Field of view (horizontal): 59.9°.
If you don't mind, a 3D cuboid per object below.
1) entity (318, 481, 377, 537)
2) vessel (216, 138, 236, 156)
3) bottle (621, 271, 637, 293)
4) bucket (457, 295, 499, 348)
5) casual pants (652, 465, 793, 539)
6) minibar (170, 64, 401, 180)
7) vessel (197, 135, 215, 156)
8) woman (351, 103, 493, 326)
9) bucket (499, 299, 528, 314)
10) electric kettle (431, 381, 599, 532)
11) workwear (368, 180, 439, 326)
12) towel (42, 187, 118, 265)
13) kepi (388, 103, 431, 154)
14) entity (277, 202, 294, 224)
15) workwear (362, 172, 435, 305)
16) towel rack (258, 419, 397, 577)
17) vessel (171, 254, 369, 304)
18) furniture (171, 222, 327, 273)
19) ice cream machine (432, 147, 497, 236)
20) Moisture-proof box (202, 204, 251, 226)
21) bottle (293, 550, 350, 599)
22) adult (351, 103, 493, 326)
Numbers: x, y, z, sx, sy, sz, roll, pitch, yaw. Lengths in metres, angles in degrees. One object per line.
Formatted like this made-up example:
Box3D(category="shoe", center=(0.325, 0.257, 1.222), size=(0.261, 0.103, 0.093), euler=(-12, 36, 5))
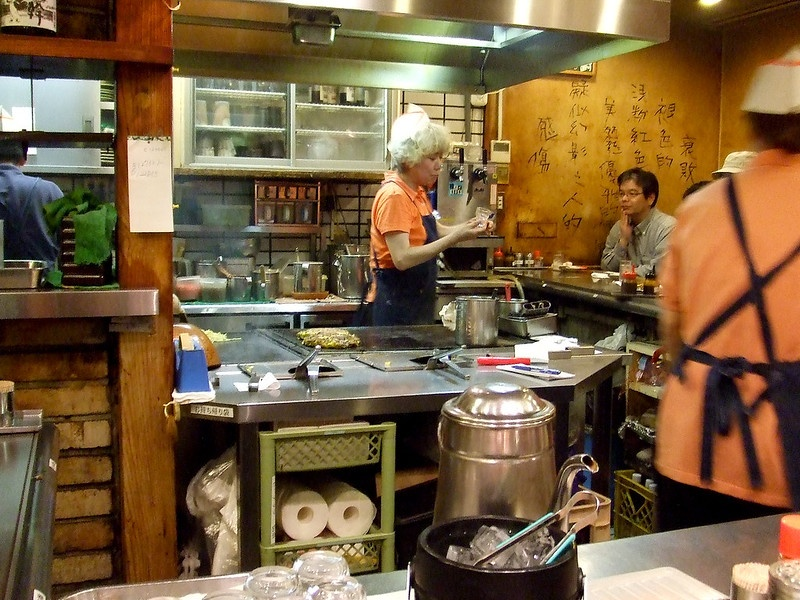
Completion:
Box3D(category="entity", center=(-0.183, 0.761, 2.477), size=(0.139, 0.160, 0.216), euler=(6, 0, -21))
Box3D(category="vessel", center=(-1.412, -1.245, 5.643), size=(0.151, 0.150, 0.135), euler=(-3, 8, -15))
Box3D(category="bottle", center=(1.568, -0.120, 4.742), size=(0.116, 0.209, 0.122), euler=(0, 4, 0))
Box3D(category="bucket", center=(0.374, 0.101, 3.392), size=(0.194, 0.240, 0.210), euler=(1, 3, 0))
Box3D(category="casual pants", center=(0.907, 0.570, 1.989), size=(0.214, 0.265, 0.216), euler=(1, 1, -4))
Box3D(category="minibar", center=(-0.959, -1.398, 6.076), size=(1.768, 0.979, 0.597), euler=(0, -20, -11))
Box3D(category="vessel", center=(-1.568, -1.227, 5.594), size=(0.121, 0.195, 0.064), euler=(1, -8, -20))
Box3D(category="woman", center=(0.102, -0.175, 4.035), size=(0.596, 1.781, 0.618), euler=(-12, 18, -43))
Box3D(category="bucket", center=(0.582, 0.014, 3.560), size=(0.089, 0.107, 0.096), euler=(1, 7, 0))
Box3D(category="electric kettle", center=(0.208, 0.323, 1.480), size=(0.318, 0.381, 0.284), euler=(-3, 7, -5))
Box3D(category="workwear", center=(0.028, -0.047, 4.067), size=(0.348, 1.279, 0.526), euler=(0, 2, 12))
Box3D(category="towel", center=(-1.102, -0.268, 2.480), size=(0.242, 0.268, 0.258), euler=(-2, 5, -9))
Box3D(category="kepi", center=(0.052, -0.926, 3.798), size=(0.209, 0.214, 0.159), euler=(1, 8, 12))
Box3D(category="entity", center=(-0.910, -0.695, 5.473), size=(0.148, 0.161, 0.080), euler=(0, 1, -26))
Box3D(category="workwear", center=(0.030, -0.384, 4.063), size=(0.389, 0.832, 0.733), euler=(1, 10, 5))
Box3D(category="towel rack", center=(-0.278, 0.690, 2.554), size=(0.482, 0.572, 0.428), euler=(-3, 8, -13))
Box3D(category="vessel", center=(-0.953, -0.154, 5.226), size=(1.393, 0.318, 0.423), euler=(-3, 9, -11))
Box3D(category="furniture", center=(-1.242, -0.361, 5.638), size=(1.172, 0.601, 0.382), euler=(0, 2, -19))
Box3D(category="ice cream machine", center=(0.523, -0.827, 5.771), size=(0.586, 0.742, 0.620), euler=(-1, -6, 17))
Box3D(category="Moisture-proof box", center=(-1.354, -0.639, 5.384), size=(0.270, 0.130, 0.187), euler=(-2, 6, -23))
Box3D(category="bottle", center=(-0.131, 0.452, 1.142), size=(0.050, 0.054, 0.053), euler=(2, -3, -13))
Box3D(category="adult", center=(0.099, -0.157, 4.008), size=(0.567, 1.767, 0.650), euler=(-10, 16, -41))
